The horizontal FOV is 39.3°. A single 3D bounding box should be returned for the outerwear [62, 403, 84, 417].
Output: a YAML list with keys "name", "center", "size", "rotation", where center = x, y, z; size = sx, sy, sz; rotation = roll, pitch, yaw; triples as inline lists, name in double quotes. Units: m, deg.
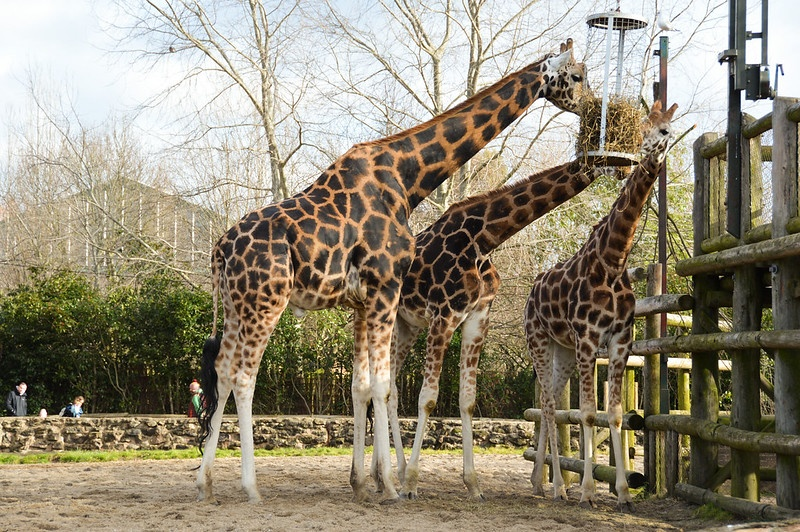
- name: "outerwear"
  center: [-7.182, 3.184, 24.358]
  size: [0.350, 0.200, 0.448]
  rotation: [0, -3, 14]

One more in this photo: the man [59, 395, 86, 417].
- name: "man"
  center: [-7.479, 3.182, 25.369]
  size: [0.839, 0.476, 0.283]
  rotation: [-20, -34, 40]
